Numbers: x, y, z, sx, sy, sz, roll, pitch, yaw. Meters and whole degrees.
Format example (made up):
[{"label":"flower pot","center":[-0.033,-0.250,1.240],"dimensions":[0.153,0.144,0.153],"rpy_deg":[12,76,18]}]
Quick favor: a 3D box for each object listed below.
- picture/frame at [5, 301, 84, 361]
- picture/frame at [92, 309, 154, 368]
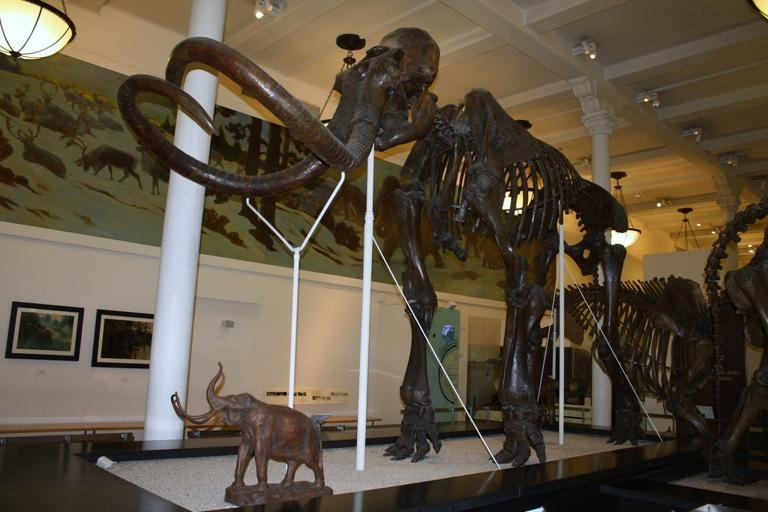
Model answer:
[{"label":"picture/frame","center":[-4.817,1.058,7.791],"dimensions":[0.821,0.798,0.062],"rpy_deg":[3,-7,-34]},{"label":"picture/frame","center":[-3.931,1.236,8.262],"dimensions":[0.854,0.769,0.058],"rpy_deg":[5,-9,-41]}]
